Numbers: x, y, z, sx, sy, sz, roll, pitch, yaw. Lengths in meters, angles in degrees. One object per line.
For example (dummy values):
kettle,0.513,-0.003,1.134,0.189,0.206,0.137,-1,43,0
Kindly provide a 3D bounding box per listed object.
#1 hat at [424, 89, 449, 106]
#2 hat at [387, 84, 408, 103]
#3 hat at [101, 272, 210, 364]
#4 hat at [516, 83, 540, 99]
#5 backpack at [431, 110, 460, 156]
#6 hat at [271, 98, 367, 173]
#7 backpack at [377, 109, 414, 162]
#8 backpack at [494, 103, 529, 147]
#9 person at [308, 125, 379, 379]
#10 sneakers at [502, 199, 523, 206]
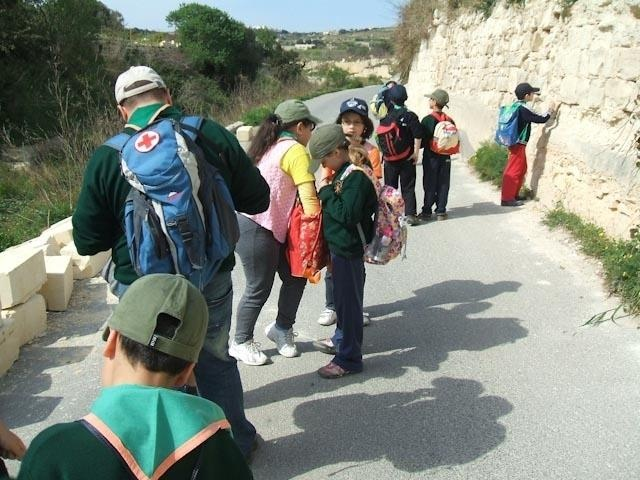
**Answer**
hat,1.917,-2.277,8.386,0.259,0.321,0.595,7,24,14
hat,1.155,-2.186,7.812,0.284,0.268,0.286,4,23,6
hat,-0.673,0.318,2.246,0.320,0.259,0.411,21,-3,-24
hat,3.340,-2.412,8.396,0.415,0.246,0.248,-20,31,-41
backpack,1.851,-1.627,8.058,0.388,0.614,0.602,-6,18,-13
hat,0.120,-1.012,5.089,1.062,0.600,0.619,-6,17,-31
backpack,1.121,-1.527,7.695,0.544,0.753,0.294,4,22,8
backpack,3.096,-1.872,8.363,0.492,0.701,0.343,13,25,27
person,0.189,0.122,4.388,0.548,2.106,0.620,-1,21,-6
sneakers,3.151,-0.617,8.595,0.333,0.151,0.122,0,12,10
